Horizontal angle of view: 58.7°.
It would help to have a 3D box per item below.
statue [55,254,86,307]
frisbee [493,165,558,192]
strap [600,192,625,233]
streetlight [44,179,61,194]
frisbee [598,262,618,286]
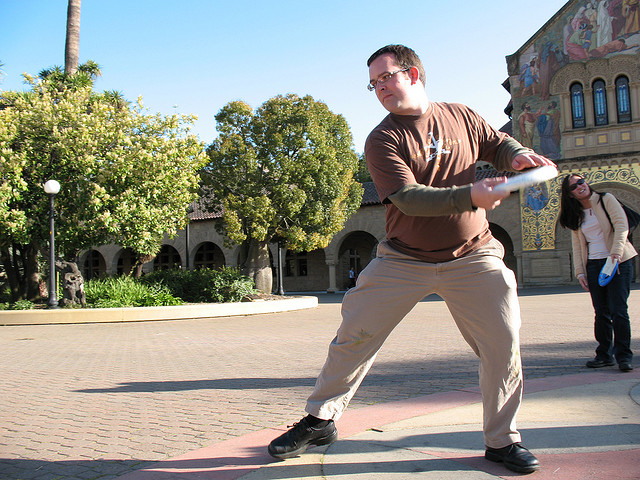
[{"bbox_3d":[-7.162,1.174,16.412,0.776,1.469,0.701,-1,-2,-20],"label":"statue"},{"bbox_3d":[1.289,-0.383,3.523,0.550,0.195,0.159,0,-2,-41],"label":"frisbee"},{"bbox_3d":[3.227,-0.318,6.468,0.079,0.442,0.198,-2,-2,-5],"label":"strap"},{"bbox_3d":[-6.817,-1.372,14.700,0.404,0.312,0.370,9,10,-36],"label":"streetlight"},{"bbox_3d":[3.211,0.404,6.391,0.058,0.232,0.165,21,2,-37],"label":"frisbee"}]
